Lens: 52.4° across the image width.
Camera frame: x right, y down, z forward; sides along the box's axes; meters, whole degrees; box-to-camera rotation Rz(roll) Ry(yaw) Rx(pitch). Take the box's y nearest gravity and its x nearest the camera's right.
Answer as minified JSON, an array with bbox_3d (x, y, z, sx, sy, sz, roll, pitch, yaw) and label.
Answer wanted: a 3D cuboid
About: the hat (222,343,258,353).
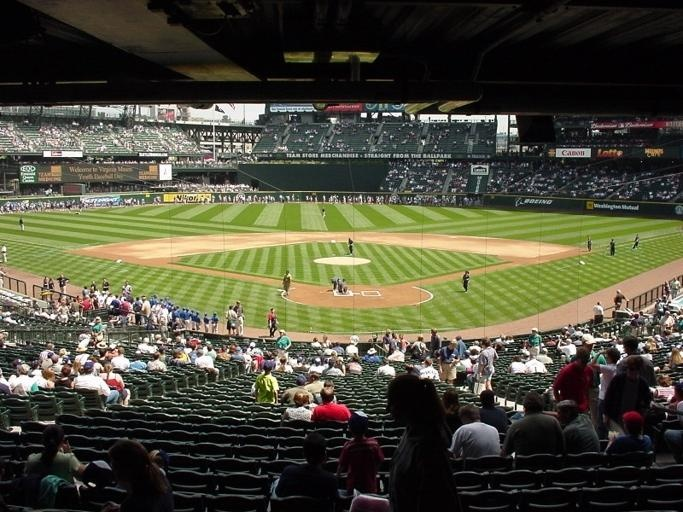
[{"bbox_3d":[-3.450,3.076,23.057,1.303,0.290,0.867,0,-3,-6],"label":"hat"}]

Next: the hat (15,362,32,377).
[{"bbox_3d":[-6.363,2.260,13.769,0.271,0.291,0.318,2,7,-10],"label":"hat"}]
